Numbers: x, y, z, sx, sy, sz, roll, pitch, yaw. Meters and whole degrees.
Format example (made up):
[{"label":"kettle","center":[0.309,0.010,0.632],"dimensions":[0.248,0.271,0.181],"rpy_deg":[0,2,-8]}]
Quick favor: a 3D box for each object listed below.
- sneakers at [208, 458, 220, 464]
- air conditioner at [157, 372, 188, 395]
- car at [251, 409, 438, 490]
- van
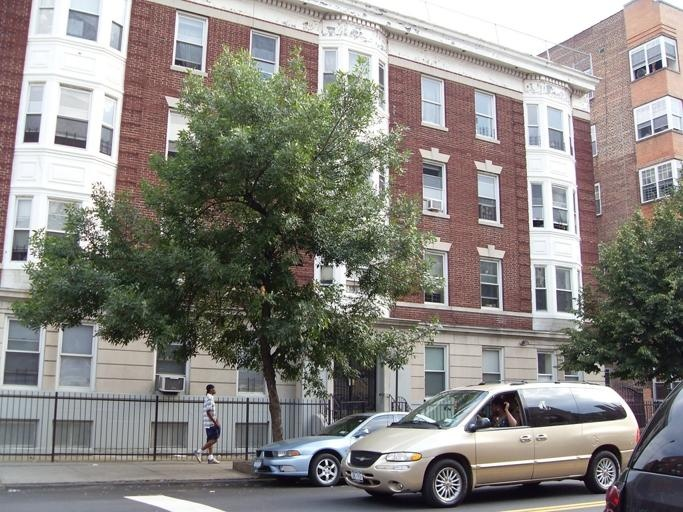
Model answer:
[{"label":"sneakers","center":[-3.488,5.697,19.736],"dimensions":[0.425,0.187,0.156],"rpy_deg":[7,-10,-20]},{"label":"air conditioner","center":[-5.411,4.024,22.446],"dimensions":[0.928,0.626,0.509],"rpy_deg":[3,-13,-16]},{"label":"car","center":[0.055,4.654,16.908],"dimensions":[3.865,1.347,1.688],"rpy_deg":[7,-19,-23]},{"label":"van","center":[3.065,3.838,14.897],"dimensions":[5.824,2.142,2.617],"rpy_deg":[4,-17,-19]}]
